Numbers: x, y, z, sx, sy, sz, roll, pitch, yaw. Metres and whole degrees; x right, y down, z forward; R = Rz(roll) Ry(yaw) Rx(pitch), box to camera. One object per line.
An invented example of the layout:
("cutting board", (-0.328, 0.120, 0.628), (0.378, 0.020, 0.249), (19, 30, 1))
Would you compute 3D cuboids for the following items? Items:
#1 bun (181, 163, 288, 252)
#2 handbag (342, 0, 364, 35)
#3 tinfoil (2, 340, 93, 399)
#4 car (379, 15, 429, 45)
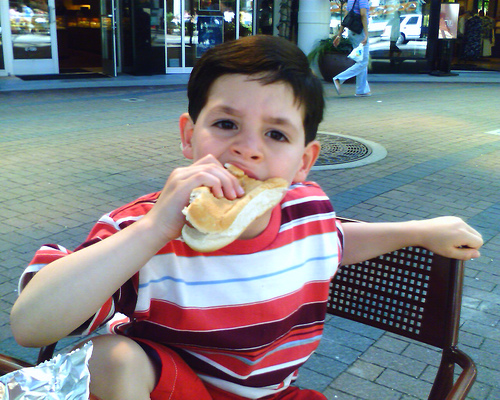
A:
("bun", (-0.041, 0.012, 1.103), (0.215, 0.198, 0.317), (5, 16, 18))
("handbag", (3.337, -5.878, 12.597), (0.705, 1.081, 0.531), (10, 22, 28))
("tinfoil", (-0.424, 0.386, 0.838), (0.180, 0.123, 0.106), (-6, 18, -20))
("car", (7.638, -8.363, 19.261), (2.898, 0.985, 1.225), (-11, 32, -4))
